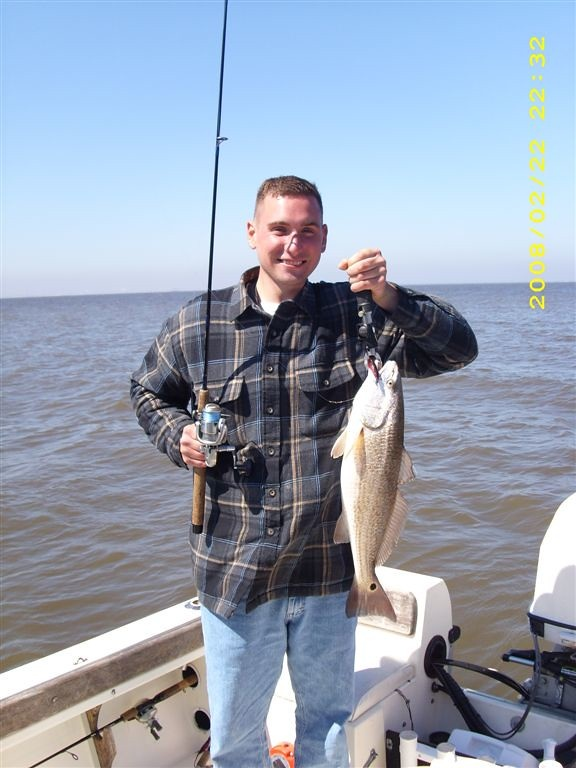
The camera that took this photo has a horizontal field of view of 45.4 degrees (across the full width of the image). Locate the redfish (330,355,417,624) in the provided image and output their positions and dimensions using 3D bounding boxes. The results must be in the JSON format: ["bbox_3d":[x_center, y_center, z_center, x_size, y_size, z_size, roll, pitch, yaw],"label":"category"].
[{"bbox_3d":[0.239,0.326,2.252,0.406,0.818,0.233,-2,12,-19],"label":"redfish"}]

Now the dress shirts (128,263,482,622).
[{"bbox_3d":[-0.031,0.162,2.300,1.249,1.067,0.344,5,-13,7],"label":"dress shirts"}]

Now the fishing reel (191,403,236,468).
[{"bbox_3d":[-0.234,0.165,2.102,0.125,0.180,0.117,1,-3,43],"label":"fishing reel"}]
